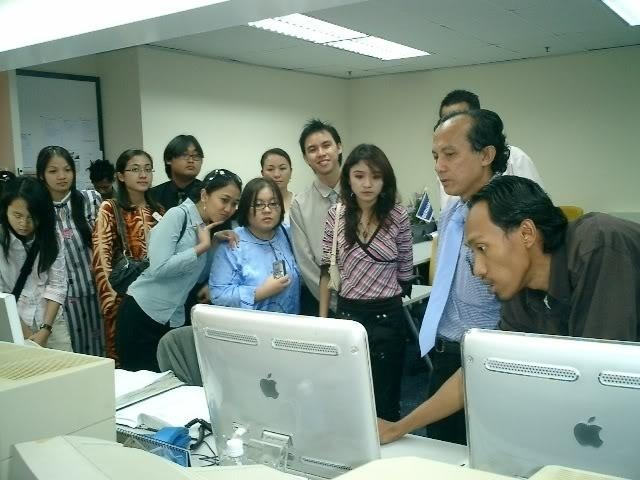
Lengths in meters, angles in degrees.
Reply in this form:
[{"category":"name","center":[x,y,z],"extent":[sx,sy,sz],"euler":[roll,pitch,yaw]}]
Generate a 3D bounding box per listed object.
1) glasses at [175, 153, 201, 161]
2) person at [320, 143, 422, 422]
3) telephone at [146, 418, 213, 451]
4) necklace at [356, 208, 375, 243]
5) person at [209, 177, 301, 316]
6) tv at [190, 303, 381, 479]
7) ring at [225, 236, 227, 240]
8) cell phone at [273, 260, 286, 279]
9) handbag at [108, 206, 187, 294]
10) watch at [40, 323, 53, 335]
[{"category":"glasses","center":[-0.871,-0.557,3.847],"extent":[0.062,0.042,0.173],"euler":[5,9,35]},{"category":"person","center":[0.178,0.405,2.870],"extent":[0.571,1.668,0.428],"euler":[-1,14,-12]},{"category":"telephone","center":[-0.482,0.689,2.023],"extent":[0.121,0.045,0.124],"euler":[-3,-2,33]},{"category":"necklace","center":[0.221,-0.077,2.772],"extent":[0.103,0.143,0.025],"euler":[-1,-6,10]},{"category":"person","center":[-0.326,0.039,2.928],"extent":[0.495,0.710,0.339],"euler":[-4,9,-24]},{"category":"tv","center":[-0.120,0.463,1.678],"extent":[0.491,0.458,0.194],"euler":[5,25,27]},{"category":"ring","center":[-0.483,-0.010,2.917],"extent":[0.010,0.014,0.004],"euler":[18,32,7]},{"category":"cell phone","center":[-0.207,0.147,2.866],"extent":[0.067,0.083,0.085],"euler":[-1,8,-5]},{"category":"handbag","center":[-0.971,0.074,3.179],"extent":[0.480,0.658,0.324],"euler":[0,-12,-3]},{"category":"watch","center":[-1.486,0.488,3.120],"extent":[0.057,0.057,0.057],"euler":[-26,-34,25]}]
